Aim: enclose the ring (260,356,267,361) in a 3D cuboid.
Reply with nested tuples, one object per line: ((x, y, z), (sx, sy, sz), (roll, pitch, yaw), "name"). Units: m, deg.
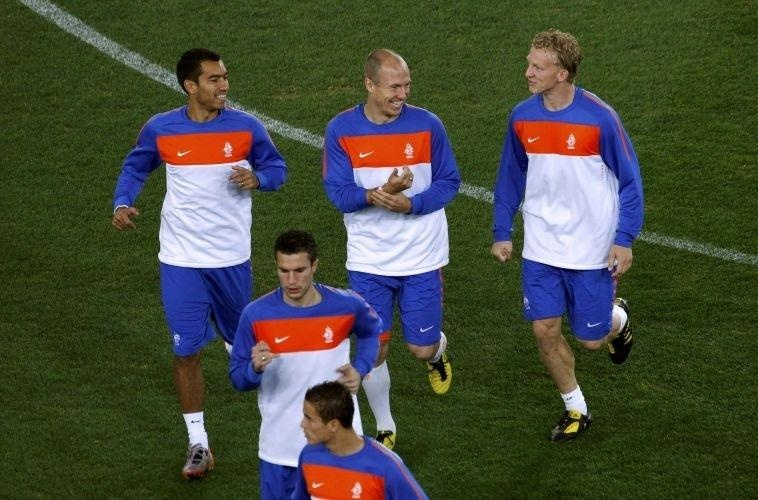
((-0.916, 0.863, 7.329), (0.033, 0.032, 0.033), (-2, -2, 0), "ring")

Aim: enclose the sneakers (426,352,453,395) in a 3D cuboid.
((0.628, 1.264, 9.276), (0.180, 0.506, 0.217), (-11, 22, 10), "sneakers")

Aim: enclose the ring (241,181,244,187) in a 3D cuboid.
((-1.281, -0.600, 8.570), (0.044, 0.046, 0.025), (-7, 38, 0), "ring")

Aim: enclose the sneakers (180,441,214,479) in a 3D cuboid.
((-1.744, 1.983, 8.797), (0.228, 0.249, 0.514), (-2, 3, 16), "sneakers")

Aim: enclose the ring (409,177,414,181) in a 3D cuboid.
((0.282, -0.614, 8.138), (0.026, 0.030, 0.030), (6, 50, -15), "ring")
